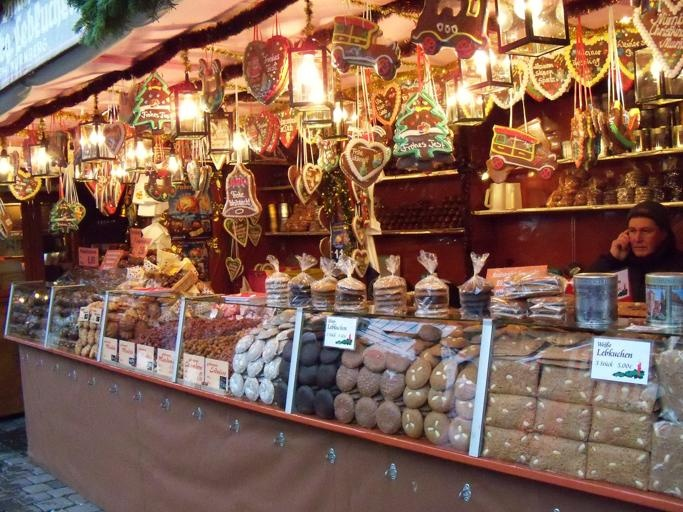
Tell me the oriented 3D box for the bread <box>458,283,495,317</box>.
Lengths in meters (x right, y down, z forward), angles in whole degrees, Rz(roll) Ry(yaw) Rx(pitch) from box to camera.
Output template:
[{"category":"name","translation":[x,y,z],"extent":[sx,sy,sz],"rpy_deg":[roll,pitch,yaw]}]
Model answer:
[{"category":"bread","translation":[0.625,0.209,2.531],"extent":[0.140,0.151,0.137],"rpy_deg":[3,-5,-40]}]

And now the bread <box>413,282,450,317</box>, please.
[{"category":"bread","translation":[0.434,0.204,2.647],"extent":[0.157,0.179,0.163],"rpy_deg":[3,-2,-22]}]

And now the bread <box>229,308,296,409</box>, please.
[{"category":"bread","translation":[-0.466,0.597,3.076],"extent":[0.186,0.478,0.476],"rpy_deg":[24,-25,-19]}]

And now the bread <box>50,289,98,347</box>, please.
[{"category":"bread","translation":[-2.373,0.508,4.635],"extent":[0.497,0.521,0.139],"rpy_deg":[-9,-19,40]}]

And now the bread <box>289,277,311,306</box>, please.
[{"category":"bread","translation":[-0.240,0.201,3.089],"extent":[0.147,0.165,0.149],"rpy_deg":[-1,-4,40]}]

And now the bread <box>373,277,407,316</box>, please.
[{"category":"bread","translation":[0.248,0.202,2.754],"extent":[0.171,0.191,0.173],"rpy_deg":[1,0,-4]}]

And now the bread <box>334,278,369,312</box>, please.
[{"category":"bread","translation":[0.059,0.202,2.900],"extent":[0.162,0.183,0.160],"rpy_deg":[1,1,-23]}]

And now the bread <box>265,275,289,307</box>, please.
[{"category":"bread","translation":[-0.387,0.206,3.252],"extent":[0.166,0.202,0.172],"rpy_deg":[1,-3,8]}]

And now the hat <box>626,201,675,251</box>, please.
[{"category":"hat","translation":[2.185,-0.242,3.861],"extent":[0.256,0.310,0.347],"rpy_deg":[0,8,-7]}]

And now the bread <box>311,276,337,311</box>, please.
[{"category":"bread","translation":[-0.093,0.196,2.969],"extent":[0.146,0.165,0.147],"rpy_deg":[-2,-8,27]}]
